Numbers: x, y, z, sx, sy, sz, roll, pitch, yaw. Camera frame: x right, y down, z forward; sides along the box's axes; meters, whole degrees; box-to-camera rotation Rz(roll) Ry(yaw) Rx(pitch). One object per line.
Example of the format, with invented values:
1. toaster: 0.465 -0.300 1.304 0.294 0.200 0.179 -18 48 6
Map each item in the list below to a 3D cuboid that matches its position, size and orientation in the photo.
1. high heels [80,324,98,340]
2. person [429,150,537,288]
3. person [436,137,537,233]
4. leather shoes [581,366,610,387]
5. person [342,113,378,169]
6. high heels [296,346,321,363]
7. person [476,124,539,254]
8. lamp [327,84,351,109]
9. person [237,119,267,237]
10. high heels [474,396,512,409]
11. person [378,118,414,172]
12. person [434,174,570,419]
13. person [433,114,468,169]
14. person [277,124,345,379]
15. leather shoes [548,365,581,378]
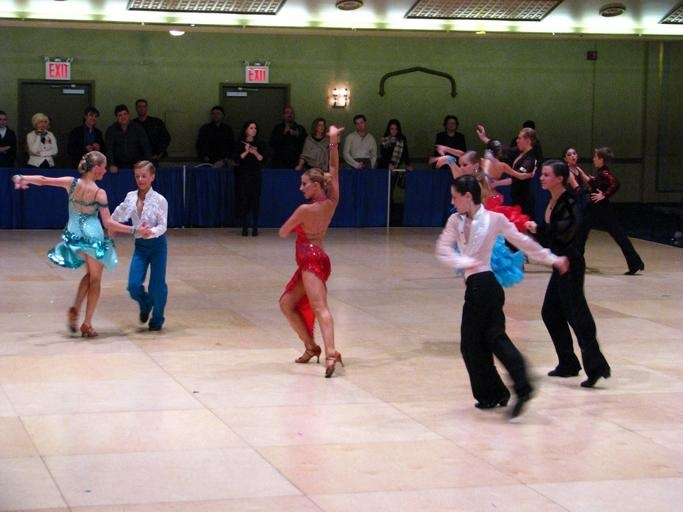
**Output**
1. high heels: -2.758 0.811 6.766 0.107 0.110 0.204 5 7 16
2. person: 1.264 -0.185 5.366 0.491 0.893 0.593 -11 -16 0
3. person: 2.116 -0.758 8.852 1.516 1.681 0.788 -8 -4 40
4. leather shoes: 2.217 1.042 5.441 0.207 0.209 0.179 -2 12 -13
5. person: 0.489 -2.998 16.352 0.848 1.363 0.641 0 12 -2
6. high heels: -0.316 0.957 6.146 0.268 0.163 0.133 1 2 1
7. person: 2.689 -0.829 9.907 0.985 2.327 0.893 -4 0 -23
8. lamp: -0.106 -4.693 18.588 0.689 0.702 0.643 0 2 -4
9. person: -2.146 -1.756 14.439 0.582 2.585 0.811 -2 12 -9
10. high heels: 1.188 1.140 4.938 0.289 0.112 0.102 3 -1 -10
11. person: 1.361 -2.926 16.340 0.798 1.271 1.171 1 12 3
12. person: 1.121 0.290 4.805 0.782 1.790 0.711 4 12 18
13. person: 2.970 -2.865 16.992 0.821 1.815 0.579 0 -8 9
14. person: -0.284 -0.059 5.903 0.603 2.292 1.096 0 12 -2
15. leather shoes: 2.054 1.070 5.834 0.324 0.134 0.108 3 1 6
